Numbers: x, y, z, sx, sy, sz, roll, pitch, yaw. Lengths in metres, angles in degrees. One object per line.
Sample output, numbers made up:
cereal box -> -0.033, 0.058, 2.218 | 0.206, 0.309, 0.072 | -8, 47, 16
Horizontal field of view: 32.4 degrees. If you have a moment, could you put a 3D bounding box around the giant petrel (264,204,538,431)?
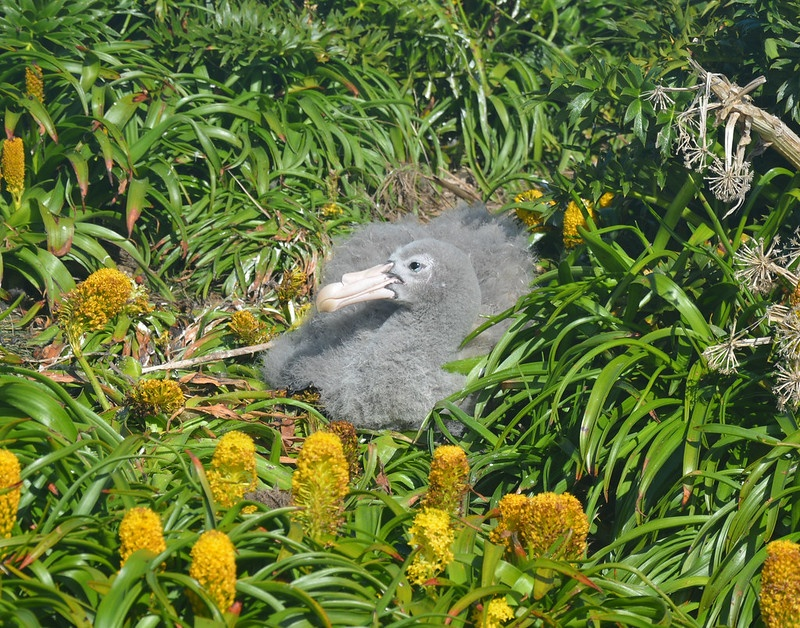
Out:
giant petrel -> 0.086, -0.015, 7.904 | 1.086, 0.638, 1.492 | 29, 71, 25

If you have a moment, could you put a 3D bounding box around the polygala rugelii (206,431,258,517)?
polygala rugelii -> -0.777, 0.701, 6.361 | 0.185, 0.345, 0.188 | 17, 26, 35

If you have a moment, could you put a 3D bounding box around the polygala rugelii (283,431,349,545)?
polygala rugelii -> -0.376, 0.834, 6.386 | 0.262, 0.500, 0.374 | 9, 51, -2

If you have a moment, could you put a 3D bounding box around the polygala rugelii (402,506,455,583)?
polygala rugelii -> 0.130, 1.063, 6.224 | 0.279, 0.336, 0.212 | -1, 11, 4
